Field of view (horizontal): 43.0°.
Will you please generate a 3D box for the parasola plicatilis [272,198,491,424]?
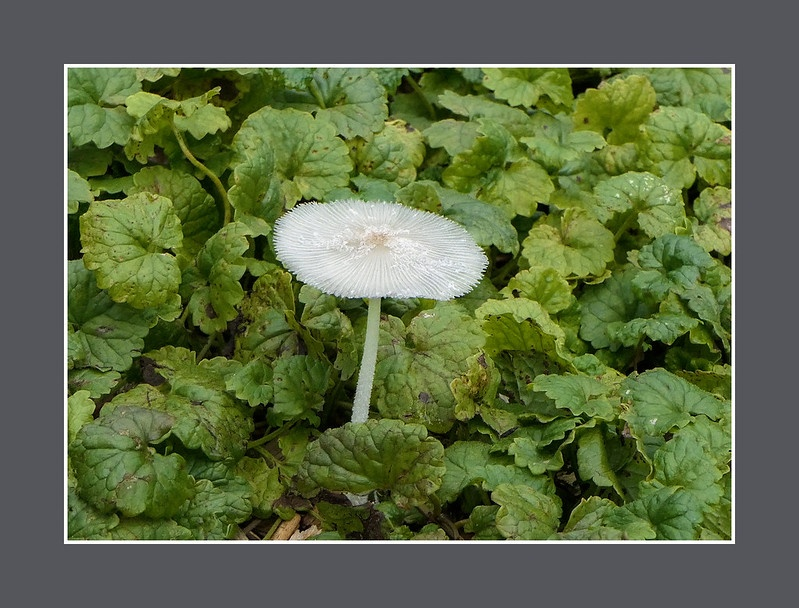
[{"bbox_3d":[-0.070,0.067,4.876,0.672,0.691,0.693,-14,63,17],"label":"parasola plicatilis"}]
